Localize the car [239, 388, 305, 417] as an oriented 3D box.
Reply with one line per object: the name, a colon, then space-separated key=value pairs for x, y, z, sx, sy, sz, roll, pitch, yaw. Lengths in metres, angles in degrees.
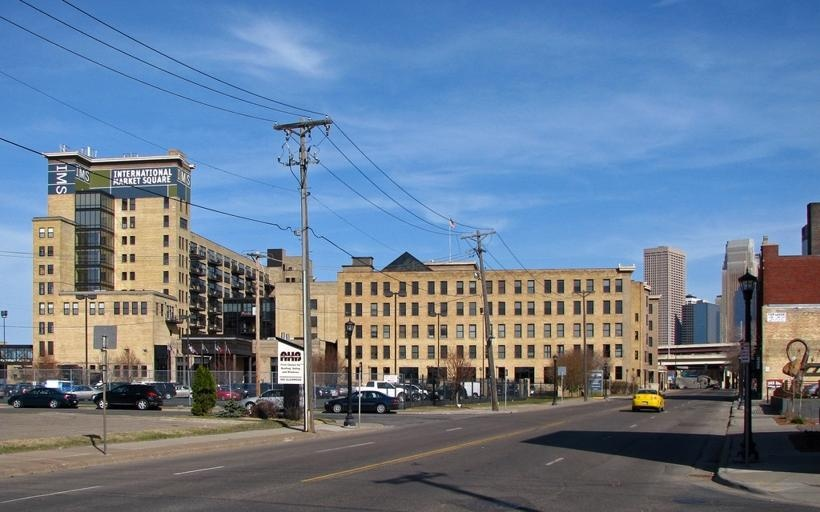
car: x=-14.236 y=14.796 z=143.732 sx=7.428 sy=1.953 sz=3.000 roll=-1 pitch=-11 yaw=7

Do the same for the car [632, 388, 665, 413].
car: x=26.214 y=15.995 z=152.408 sx=2.771 sy=2.553 sz=4.094 roll=-4 pitch=-10 yaw=18
